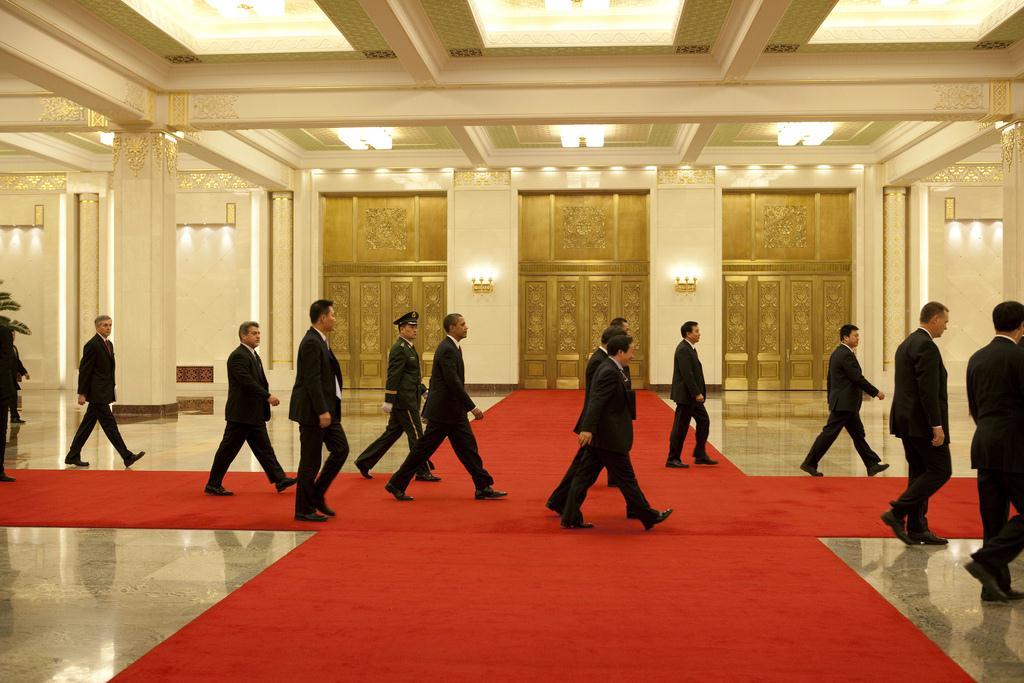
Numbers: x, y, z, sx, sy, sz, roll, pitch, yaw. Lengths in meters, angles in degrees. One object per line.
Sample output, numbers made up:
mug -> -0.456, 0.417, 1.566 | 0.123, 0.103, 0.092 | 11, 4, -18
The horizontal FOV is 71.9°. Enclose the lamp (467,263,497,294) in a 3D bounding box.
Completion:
lamp -> -0.740, -1.648, 18.373 | 0.886, 0.924, 0.301 | 0, -6, -2

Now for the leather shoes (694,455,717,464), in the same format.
leather shoes -> 2.459, 1.488, 8.950 | 0.263, 0.102, 0.105 | 0, -2, 3

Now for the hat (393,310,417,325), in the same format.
hat -> -1.133, -0.252, 7.702 | 0.313, 0.137, 0.281 | -5, 4, -3

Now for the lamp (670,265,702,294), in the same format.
lamp -> 4.470, -1.586, 18.006 | 0.798, 0.730, 0.239 | 1, -9, 2

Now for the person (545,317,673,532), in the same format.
person -> 0.867, 0.784, 6.589 | 1.020, 1.753, 1.028 | 1, 3, 3

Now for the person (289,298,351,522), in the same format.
person -> -1.823, 0.620, 6.698 | 0.510, 2.041, 0.754 | 0, 3, -13

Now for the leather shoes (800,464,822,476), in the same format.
leather shoes -> 3.483, 1.511, 8.260 | 0.345, 0.106, 0.142 | 19, -29, -39

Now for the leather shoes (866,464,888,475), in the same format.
leather shoes -> 4.268, 1.491, 8.269 | 0.197, 0.123, 0.066 | -24, 14, -8

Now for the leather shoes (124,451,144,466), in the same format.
leather shoes -> -4.674, 1.446, 8.747 | 0.214, 0.150, 0.071 | -42, 21, -5

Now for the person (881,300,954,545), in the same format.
person -> 3.460, 0.681, 6.004 | 0.474, 2.027, 0.446 | 2, 3, 29
